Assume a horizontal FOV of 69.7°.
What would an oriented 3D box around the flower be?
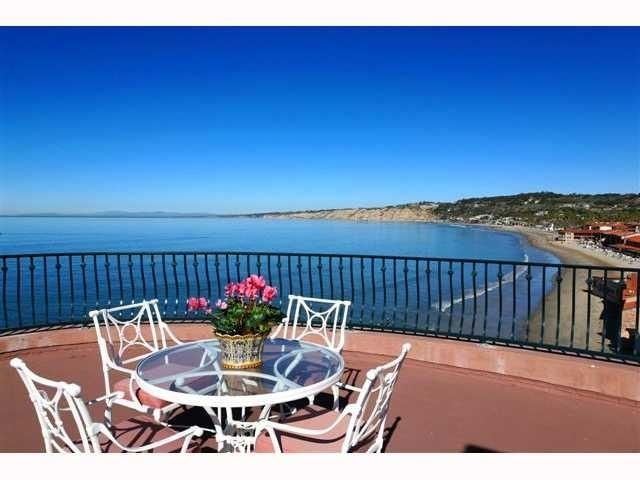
[{"bbox_3d":[-0.696,0.639,4.330,0.585,0.354,0.418,0,-19,-22],"label":"flower"}]
